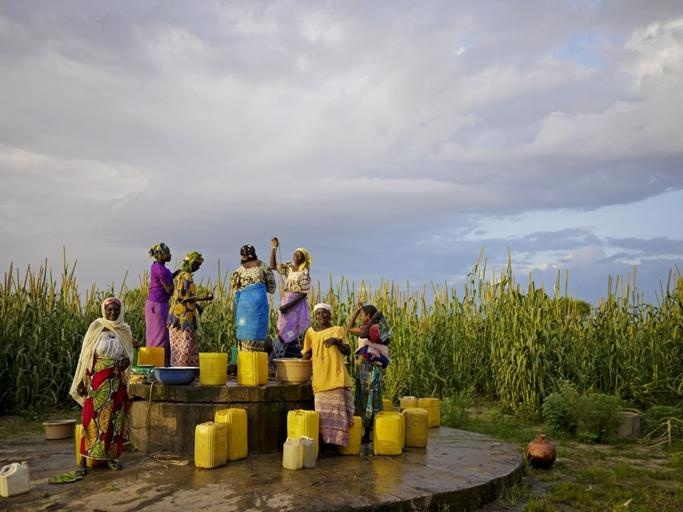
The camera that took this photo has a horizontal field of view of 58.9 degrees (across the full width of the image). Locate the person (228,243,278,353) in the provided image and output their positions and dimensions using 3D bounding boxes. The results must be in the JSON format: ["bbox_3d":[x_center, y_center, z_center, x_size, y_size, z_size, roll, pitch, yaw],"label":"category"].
[{"bbox_3d":[-1.515,0.718,10.295,0.694,1.774,0.512,1,-2,-4],"label":"person"}]

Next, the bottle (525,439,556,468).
[{"bbox_3d":[2.823,2.766,8.599,0.351,0.467,0.373,0,-11,0],"label":"bottle"}]

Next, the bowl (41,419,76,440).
[{"bbox_3d":[-4.540,2.789,9.732,0.350,0.208,0.366,-1,-1,0],"label":"bowl"}]

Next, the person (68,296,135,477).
[{"bbox_3d":[-3.066,1.618,7.776,0.697,2.150,0.585,2,-2,-24],"label":"person"}]

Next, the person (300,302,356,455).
[{"bbox_3d":[-0.176,1.655,8.311,0.701,2.010,0.408,0,-2,11],"label":"person"}]
